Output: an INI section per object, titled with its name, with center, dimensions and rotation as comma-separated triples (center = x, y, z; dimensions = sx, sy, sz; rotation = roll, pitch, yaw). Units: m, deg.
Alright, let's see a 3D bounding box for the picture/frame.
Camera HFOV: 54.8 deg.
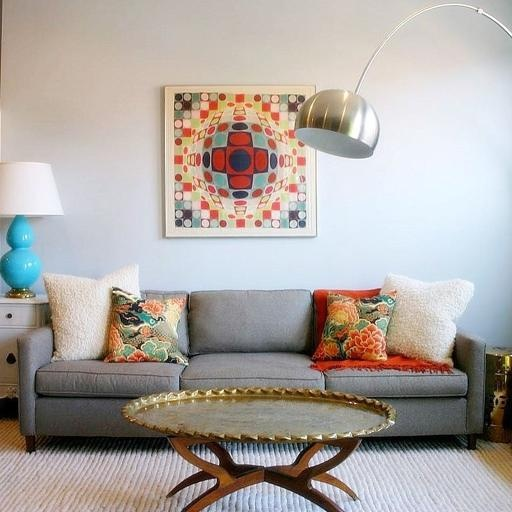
[picture/frame]
center = -0.149, -0.694, 3.411
dimensions = 1.103, 1.030, 0.023
rotation = 0, 3, 2
